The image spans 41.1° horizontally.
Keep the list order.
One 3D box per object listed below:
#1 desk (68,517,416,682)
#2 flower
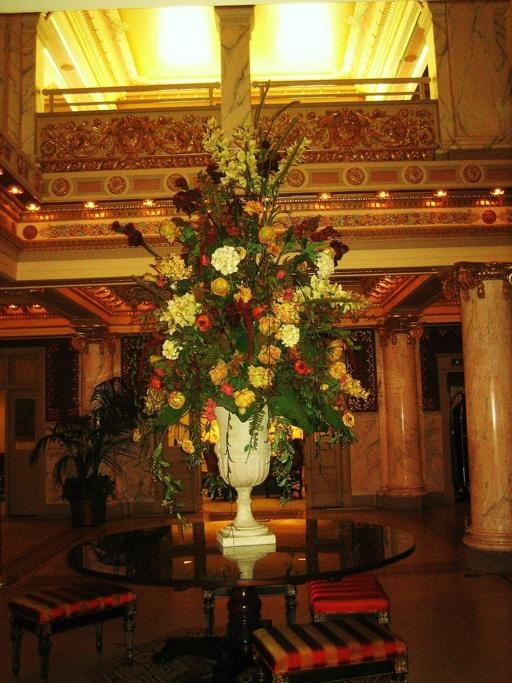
[{"bbox_3d":[-0.097,1.355,3.504,1.530,0.442,1.331,1,-14,-5],"label":"desk"},{"bbox_3d":[-0.038,-0.137,2.995,1.034,2.064,0.954,0,-8,0],"label":"flower"}]
